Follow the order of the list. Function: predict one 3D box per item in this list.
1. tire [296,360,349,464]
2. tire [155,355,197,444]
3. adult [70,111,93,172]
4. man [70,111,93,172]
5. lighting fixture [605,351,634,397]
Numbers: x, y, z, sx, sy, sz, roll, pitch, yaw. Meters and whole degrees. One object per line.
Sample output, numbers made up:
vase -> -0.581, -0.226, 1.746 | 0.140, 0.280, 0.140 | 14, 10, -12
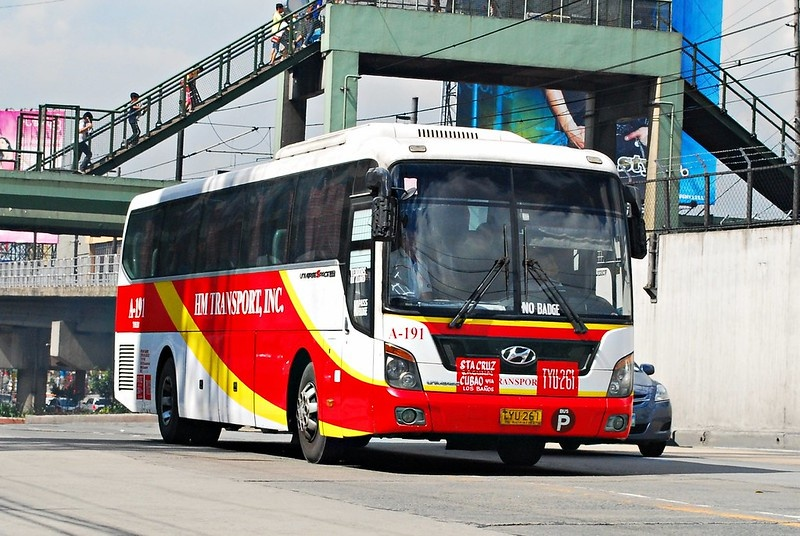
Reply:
tire -> -1.328, 2.493, 23.812 | 0.632, 1.884, 1.613 | 4, -11, -20
tire -> -4.677, 2.734, 28.772 | 0.585, 1.803, 1.766 | 6, 2, -22
adult -> -10.674, -4.244, 46.278 | 0.557, 1.800, 1.504 | 8, -3, -15
man -> -10.688, -4.241, 46.352 | 0.560, 1.800, 1.349 | 8, -3, -14
lighting fixture -> 3.785, 1.850, 23.181 | 0.215, 0.652, 0.655 | 5, -14, 29
